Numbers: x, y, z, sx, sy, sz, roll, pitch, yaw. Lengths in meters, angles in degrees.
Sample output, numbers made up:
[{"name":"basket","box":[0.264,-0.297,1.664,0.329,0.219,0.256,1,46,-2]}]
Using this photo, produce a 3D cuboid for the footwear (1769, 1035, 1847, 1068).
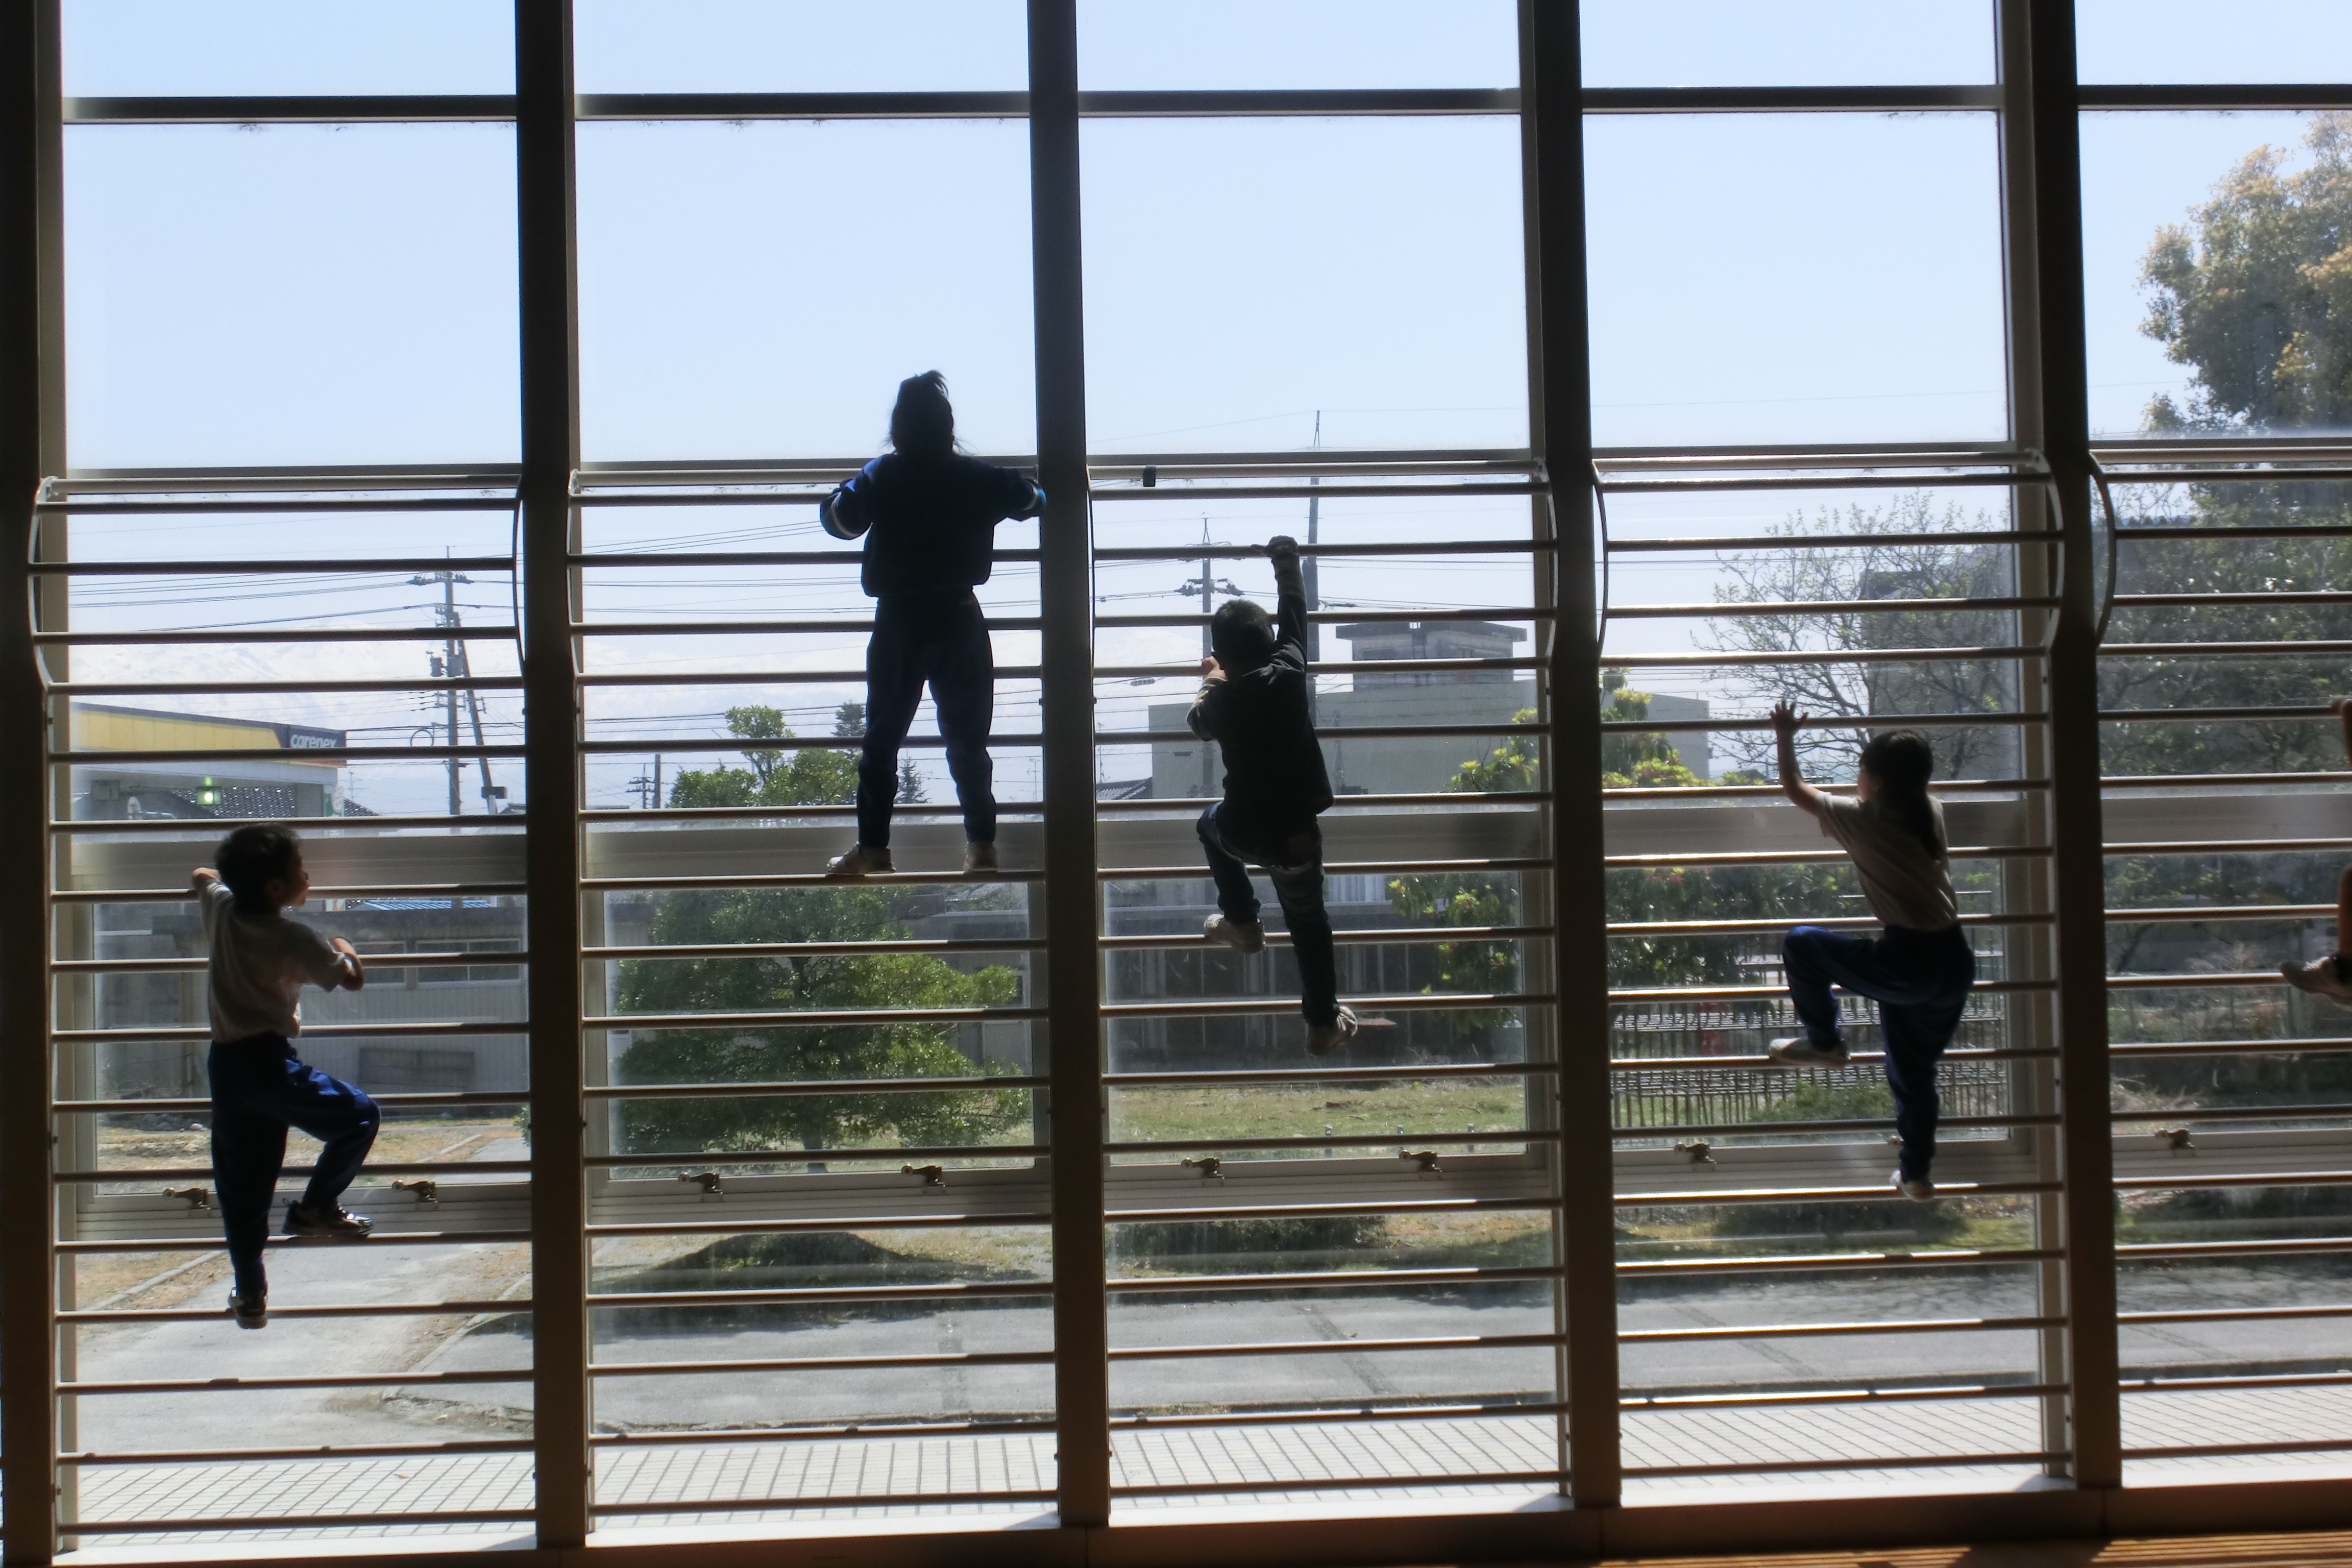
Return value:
[{"name":"footwear","box":[2.097,0.901,11.773,0.233,0.091,0.109,9,-9,2]}]

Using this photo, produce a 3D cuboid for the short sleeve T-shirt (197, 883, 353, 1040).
[{"name":"short sleeve T-shirt","box":[-2.950,0.591,11.566,0.459,0.326,0.247,16,17,24]}]

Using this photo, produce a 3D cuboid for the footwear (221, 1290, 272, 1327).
[{"name":"footwear","box":[-3.002,1.717,11.547,0.085,0.104,0.160,2,3,-15]}]

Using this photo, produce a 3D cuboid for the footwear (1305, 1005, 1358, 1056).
[{"name":"footwear","box":[0.508,0.815,11.715,0.166,0.076,0.184,-10,-5,-10]}]

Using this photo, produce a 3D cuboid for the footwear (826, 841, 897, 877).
[{"name":"footwear","box":[-1.029,0.252,11.675,0.218,0.090,0.101,-1,0,-7]}]

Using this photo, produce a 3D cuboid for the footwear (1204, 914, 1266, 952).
[{"name":"footwear","box":[0.199,0.481,11.694,0.192,0.108,0.085,12,19,18]}]

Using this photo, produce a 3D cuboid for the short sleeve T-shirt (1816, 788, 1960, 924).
[{"name":"short sleeve T-shirt","box":[2.361,0.226,11.746,0.437,0.402,0.250,-4,7,37]}]

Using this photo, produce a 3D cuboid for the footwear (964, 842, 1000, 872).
[{"name":"footwear","box":[-0.630,0.238,11.676,0.108,0.095,0.105,-1,3,7]}]

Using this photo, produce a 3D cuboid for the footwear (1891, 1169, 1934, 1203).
[{"name":"footwear","box":[2.445,1.338,11.757,0.131,0.052,0.114,30,-1,-20]}]

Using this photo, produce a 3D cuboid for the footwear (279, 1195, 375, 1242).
[{"name":"footwear","box":[-2.766,1.424,11.575,0.273,0.114,0.120,2,8,-10]}]
